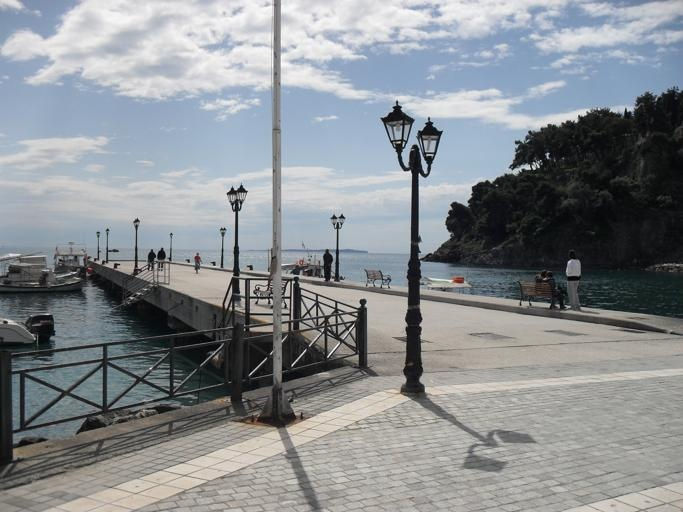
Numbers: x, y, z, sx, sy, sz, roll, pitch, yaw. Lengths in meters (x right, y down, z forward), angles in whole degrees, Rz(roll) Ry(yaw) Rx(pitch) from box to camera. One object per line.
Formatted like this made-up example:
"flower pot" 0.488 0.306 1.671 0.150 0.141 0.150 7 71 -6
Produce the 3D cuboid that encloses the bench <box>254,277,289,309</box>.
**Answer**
"bench" -2.349 1.291 20.061 0.735 0.837 1.696 1 -3 -23

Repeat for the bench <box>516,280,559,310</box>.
"bench" 8.050 1.661 24.828 0.933 1.191 1.870 -4 4 -27

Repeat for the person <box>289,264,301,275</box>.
"person" -4.176 1.329 55.739 0.258 0.913 1.013 18 -17 -35

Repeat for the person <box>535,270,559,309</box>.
"person" 8.522 1.492 25.299 0.911 1.456 2.179 -1 0 5
